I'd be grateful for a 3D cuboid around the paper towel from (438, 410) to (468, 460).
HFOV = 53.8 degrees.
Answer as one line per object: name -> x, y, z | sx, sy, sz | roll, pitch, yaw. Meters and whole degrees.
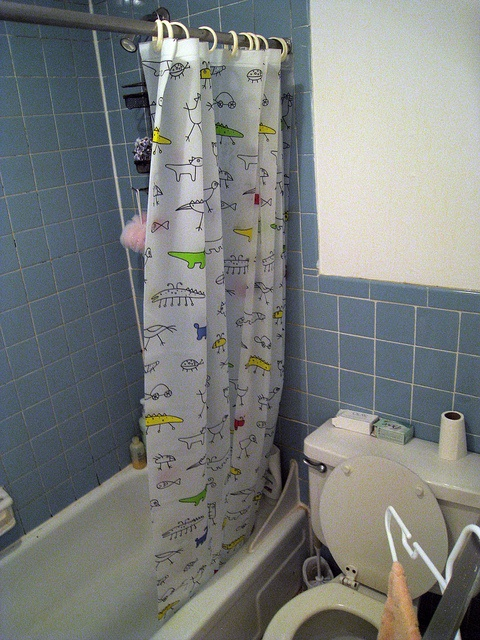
paper towel -> 0.606, 0.329, 1.338 | 0.073, 0.131, 0.071 | 8, 20, 30
